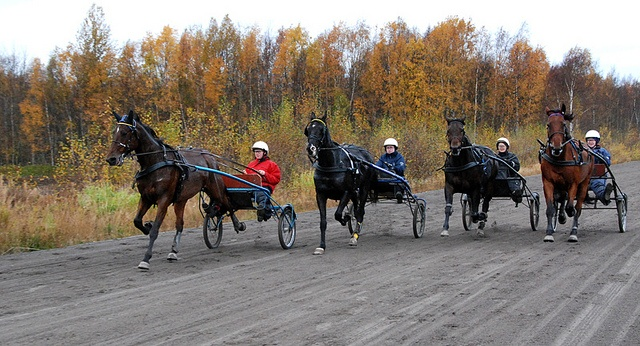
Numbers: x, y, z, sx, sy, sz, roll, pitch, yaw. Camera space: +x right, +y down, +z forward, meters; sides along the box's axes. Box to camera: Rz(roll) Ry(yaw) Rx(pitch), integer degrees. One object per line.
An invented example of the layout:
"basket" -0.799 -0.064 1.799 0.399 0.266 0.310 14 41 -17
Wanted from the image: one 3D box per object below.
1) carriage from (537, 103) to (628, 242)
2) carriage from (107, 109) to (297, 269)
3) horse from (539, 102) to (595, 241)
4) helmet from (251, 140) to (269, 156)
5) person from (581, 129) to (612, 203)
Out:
"carriage" 8.729 0.075 15.883 2.070 3.432 5.887 -3 -14 32
"carriage" -3.159 0.454 15.882 3.070 3.746 6.533 -7 -12 41
"horse" 7.273 0.037 15.664 1.117 3.897 1.567 -3 -1 36
"helmet" -1.860 -0.838 16.172 0.477 0.446 0.572 1 -27 10
"person" 9.045 -0.204 16.953 1.167 2.071 0.687 -17 -4 38
